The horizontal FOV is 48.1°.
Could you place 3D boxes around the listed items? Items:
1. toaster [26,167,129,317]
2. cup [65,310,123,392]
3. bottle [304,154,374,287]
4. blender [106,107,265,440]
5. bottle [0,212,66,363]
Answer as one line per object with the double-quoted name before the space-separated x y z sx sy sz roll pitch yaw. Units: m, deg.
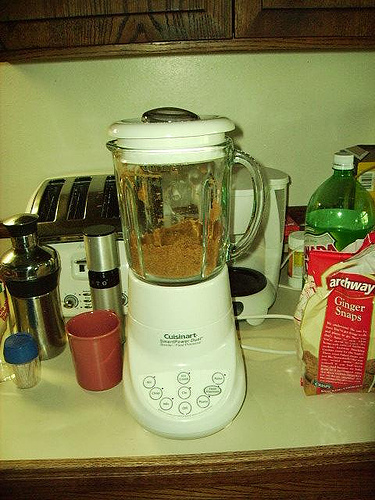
"toaster" -0.200 -0.040 0.885 0.183 0.236 0.338 -4 30 -4
"cup" -0.140 0.152 0.623 0.087 0.108 0.080 -4 15 1
"bottle" 0.246 -0.047 0.675 0.110 0.210 0.124 0 16 15
"blender" -0.003 0.042 0.583 0.243 0.443 0.186 -3 21 -3
"bottle" -0.240 0.063 0.685 0.071 0.244 0.107 0 16 15
